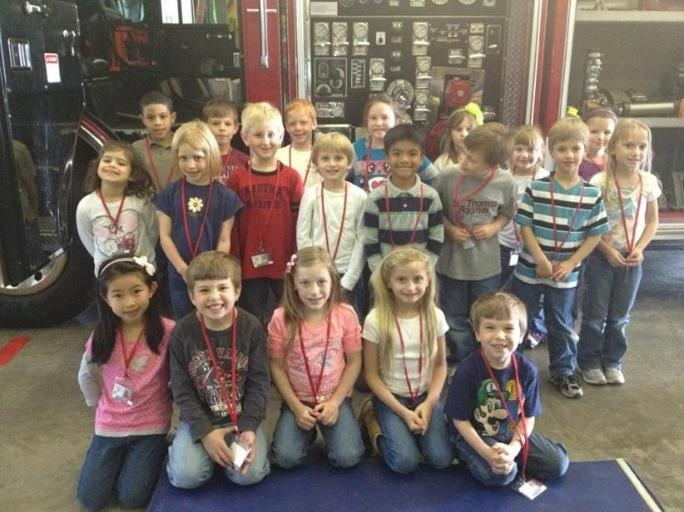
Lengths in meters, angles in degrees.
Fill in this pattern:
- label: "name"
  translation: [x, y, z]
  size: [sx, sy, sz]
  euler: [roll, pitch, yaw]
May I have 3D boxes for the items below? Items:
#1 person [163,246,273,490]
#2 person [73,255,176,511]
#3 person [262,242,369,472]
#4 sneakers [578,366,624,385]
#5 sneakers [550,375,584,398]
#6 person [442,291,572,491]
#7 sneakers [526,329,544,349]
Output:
- label: "person"
  translation: [-0.593, 0.503, 2.773]
  size: [0.516, 0.959, 0.527]
  euler: [-6, 20, -8]
- label: "person"
  translation: [-1.020, 0.576, 2.807]
  size: [0.520, 1.062, 0.498]
  euler: [-8, 20, -14]
- label: "person"
  translation: [-0.125, 0.494, 2.865]
  size: [0.454, 0.997, 0.461]
  euler: [-3, 20, 0]
- label: "sneakers"
  translation: [1.541, 0.705, 3.554]
  size: [0.192, 0.081, 0.112]
  euler: [3, 19, 8]
- label: "sneakers"
  translation: [1.294, 0.741, 3.479]
  size: [0.079, 0.076, 0.186]
  euler: [-8, 6, -10]
- label: "person"
  translation: [0.706, 0.593, 2.753]
  size: [0.364, 0.799, 0.389]
  euler: [16, 27, 43]
- label: "sneakers"
  translation: [1.258, 0.535, 3.929]
  size: [0.083, 0.065, 0.189]
  euler: [-7, 5, 38]
